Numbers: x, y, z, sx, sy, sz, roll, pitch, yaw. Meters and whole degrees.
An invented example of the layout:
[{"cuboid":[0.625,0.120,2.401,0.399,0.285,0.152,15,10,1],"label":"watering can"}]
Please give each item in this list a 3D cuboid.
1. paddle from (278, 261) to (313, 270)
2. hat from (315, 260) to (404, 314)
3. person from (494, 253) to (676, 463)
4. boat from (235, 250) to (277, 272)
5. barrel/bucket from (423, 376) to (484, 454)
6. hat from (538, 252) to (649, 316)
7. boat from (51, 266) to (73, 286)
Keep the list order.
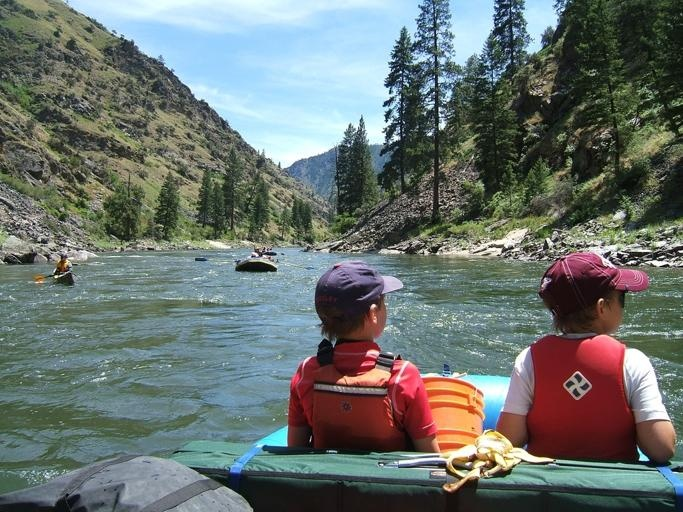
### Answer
[{"cuboid":[-2.467,0.517,28.073,1.546,0.062,0.256,10,-37,-38],"label":"paddle"},{"cuboid":[0.117,0.198,3.355,0.331,0.192,0.482,3,16,40],"label":"hat"},{"cuboid":[1.482,0.612,3.169,0.953,1.227,0.380,3,8,22],"label":"person"},{"cuboid":[-3.993,0.267,24.735,1.803,0.730,2.861,-1,5,-7],"label":"boat"},{"cuboid":[0.720,1.073,3.443,0.526,0.330,0.398,16,-43,-10],"label":"barrel/bucket"},{"cuboid":[1.558,0.118,3.326,0.663,0.284,0.377,-21,8,-5],"label":"hat"},{"cuboid":[-8.721,0.635,16.361,0.540,0.510,1.000,-3,7,-27],"label":"boat"}]
